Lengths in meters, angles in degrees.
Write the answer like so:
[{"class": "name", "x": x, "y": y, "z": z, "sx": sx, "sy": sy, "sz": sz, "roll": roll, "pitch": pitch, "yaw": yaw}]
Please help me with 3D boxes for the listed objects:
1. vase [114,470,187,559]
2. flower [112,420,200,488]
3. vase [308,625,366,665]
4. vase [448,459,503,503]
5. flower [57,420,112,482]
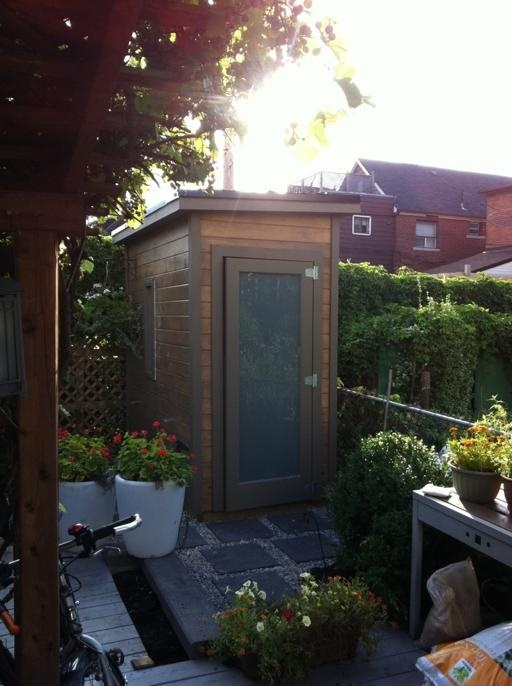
[{"class": "vase", "x": -0.721, "y": 1.210, "z": 3.871, "sx": 0.454, "sy": 0.505, "sz": 0.479, "roll": -8, "pitch": -7, "yaw": 41}, {"class": "flower", "x": -0.741, "y": 0.790, "z": 3.892, "sx": 0.454, "sy": 0.305, "sz": 0.418, "roll": -3, "pitch": 12, "yaw": -44}, {"class": "vase", "x": 0.374, "y": 1.368, "z": 2.567, "sx": 0.241, "sy": 0.151, "sz": 0.176, "roll": 1, "pitch": -9, "yaw": -14}, {"class": "vase", "x": 0.996, "y": 0.629, "z": 2.519, "sx": 0.167, "sy": 0.108, "sz": 0.170, "roll": 4, "pitch": 3, "yaw": 42}, {"class": "flower", "x": -1.237, "y": 0.808, "z": 4.009, "sx": 0.349, "sy": 0.384, "sz": 0.460, "roll": -1, "pitch": 0, "yaw": -17}]
